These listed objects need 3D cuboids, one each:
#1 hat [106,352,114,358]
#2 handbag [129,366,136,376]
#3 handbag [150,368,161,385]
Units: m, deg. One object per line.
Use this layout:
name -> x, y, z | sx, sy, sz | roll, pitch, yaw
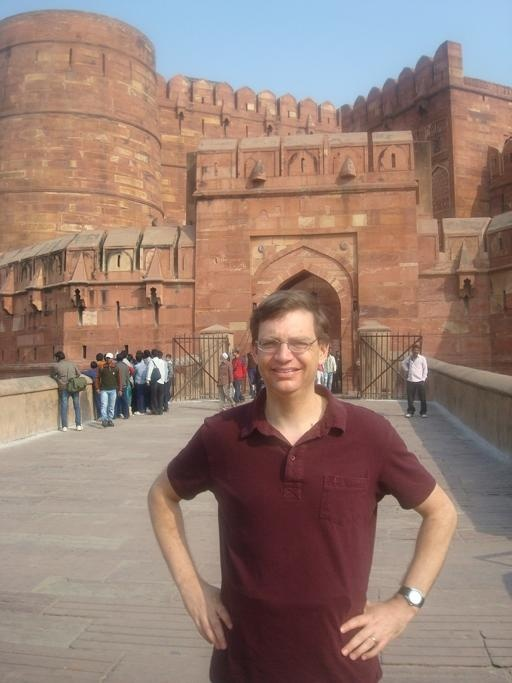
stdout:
hat -> -3.099, 0.296, 14.876 | 0.176, 0.123, 0.246 | -4, 13, -29
handbag -> -2.371, 0.573, 13.469 | 0.097, 0.125, 0.048 | -11, -25, -34
handbag -> -1.861, 0.636, 12.986 | 0.160, 0.255, 0.265 | 3, -20, -4
